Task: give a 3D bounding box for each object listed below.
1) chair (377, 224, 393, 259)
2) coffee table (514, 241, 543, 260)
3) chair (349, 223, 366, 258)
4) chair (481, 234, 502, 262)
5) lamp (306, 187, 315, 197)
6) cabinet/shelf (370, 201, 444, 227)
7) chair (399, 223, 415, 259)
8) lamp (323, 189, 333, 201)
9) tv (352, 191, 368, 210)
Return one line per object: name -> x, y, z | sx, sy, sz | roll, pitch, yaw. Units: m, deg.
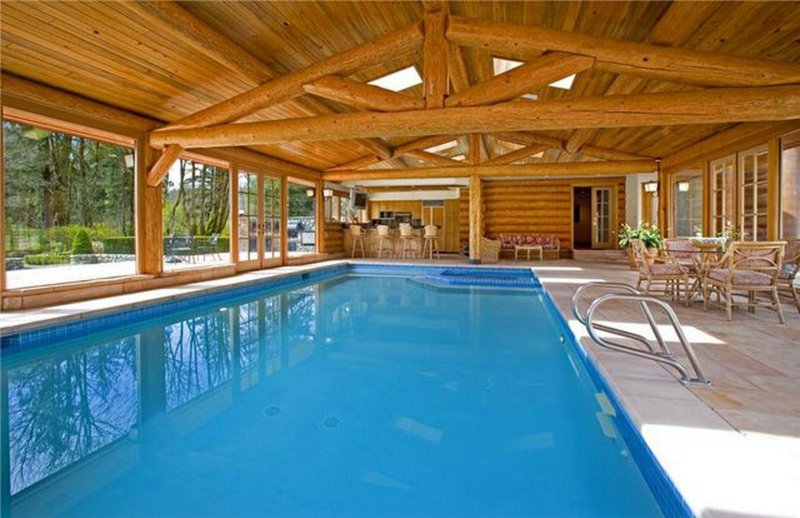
chair -> -0.482, -0.564, 13.980 | 0.488, 1.086, 0.732 | -1, 11, -4
coffee table -> 4.157, -0.224, 13.782 | 0.915, 0.515, 0.966 | 2, 9, 12
chair -> -1.381, -0.598, 14.121 | 0.503, 1.140, 0.616 | -1, 11, -6
chair -> 2.730, -0.266, 12.892 | 0.535, 0.625, 0.634 | 1, 10, 7
lamp -> -2.694, -1.944, 12.703 | 0.291, 0.236, 0.280 | -10, 14, -41
cabinet/shelf -> 0.394, -1.798, 17.350 | 3.108, 1.088, 0.357 | 2, 11, 12
chair -> 0.226, -0.566, 13.836 | 0.473, 1.107, 0.619 | 1, 11, 3
lamp -> -2.287, -2.039, 13.645 | 0.306, 0.399, 1.158 | -1, 9, -8
tv -> -1.387, -2.017, 14.680 | 0.483, 0.513, 0.829 | 0, -1, 18
